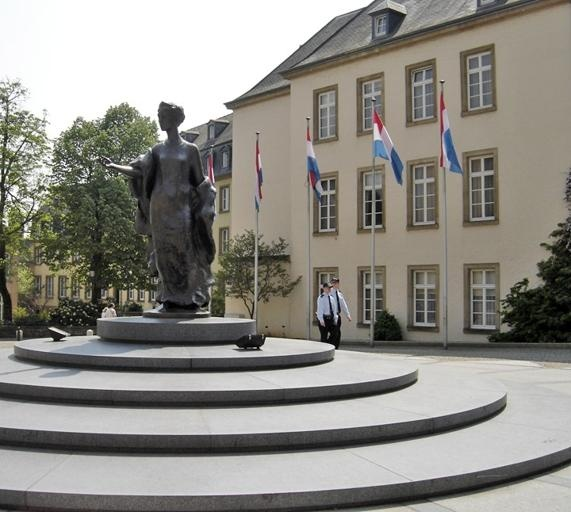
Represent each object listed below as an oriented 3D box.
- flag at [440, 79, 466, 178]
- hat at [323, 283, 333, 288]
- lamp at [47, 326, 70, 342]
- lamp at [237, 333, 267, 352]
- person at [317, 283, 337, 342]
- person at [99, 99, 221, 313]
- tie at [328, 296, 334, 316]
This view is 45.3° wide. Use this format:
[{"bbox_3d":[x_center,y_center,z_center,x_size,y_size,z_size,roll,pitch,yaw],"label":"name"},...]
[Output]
[{"bbox_3d":[4.741,-3.715,19.617,0.594,2.981,0.187,-2,-17,19],"label":"flag"},{"bbox_3d":[0.853,0.619,14.213,0.130,0.082,0.185,0,5,-26],"label":"hat"},{"bbox_3d":[-3.619,1.240,10.877,0.255,0.212,0.811,2,-5,-18],"label":"lamp"},{"bbox_3d":[-0.468,1.191,9.534,0.525,0.206,0.242,4,-6,-39],"label":"lamp"},{"bbox_3d":[0.879,1.207,14.414,0.413,1.291,0.830,0,-5,5],"label":"person"},{"bbox_3d":[-1.747,-0.738,10.605,1.338,3.182,0.955,1,-5,-12],"label":"person"},{"bbox_3d":[0.963,1.035,14.359,0.101,0.410,0.177,-1,-5,9],"label":"tie"}]
